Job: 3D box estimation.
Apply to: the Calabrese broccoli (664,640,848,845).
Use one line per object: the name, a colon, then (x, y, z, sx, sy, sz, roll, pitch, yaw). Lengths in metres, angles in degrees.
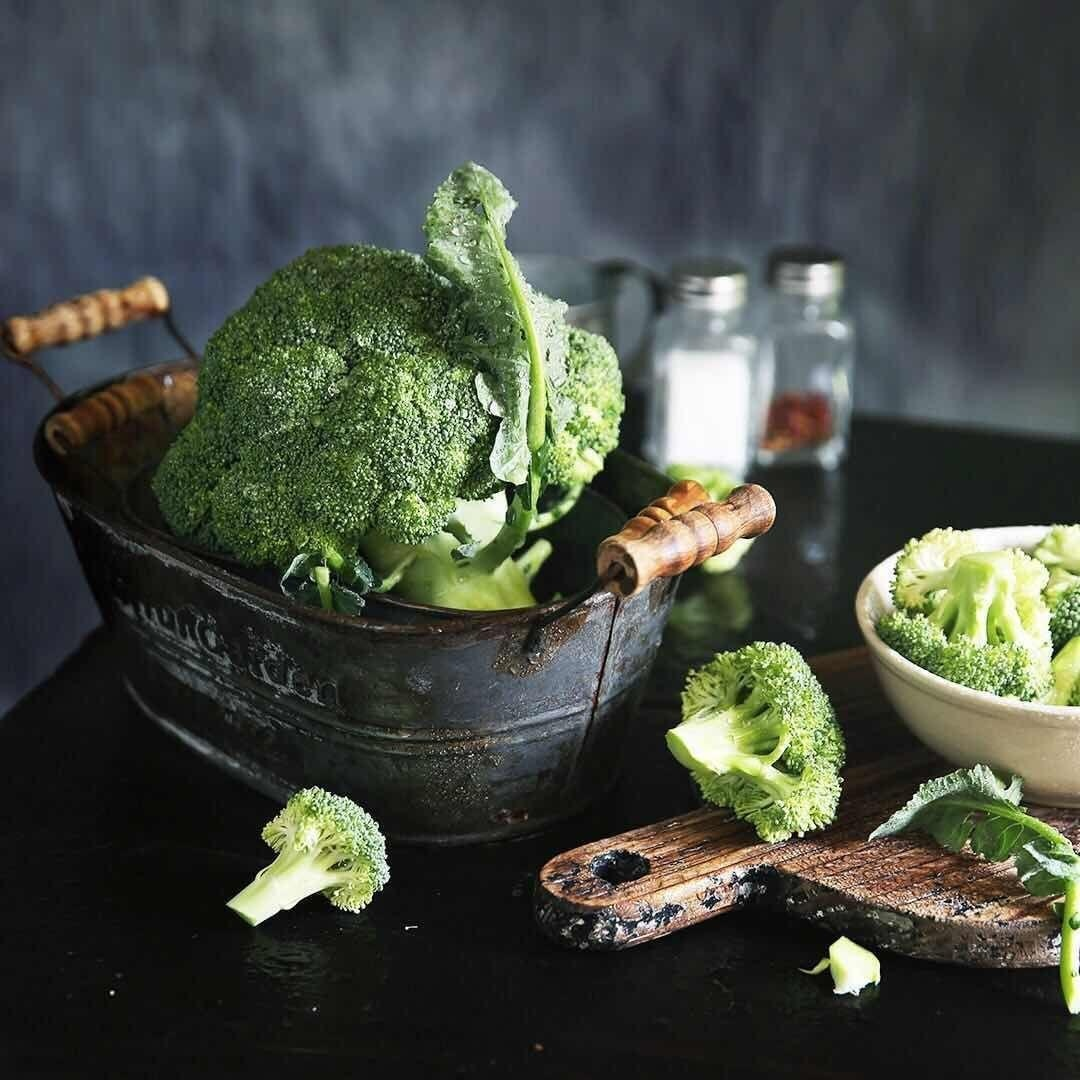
Calabrese broccoli: (0.142, 0.128, 0.795, 0.139, 0.103, 0.115, -9, 15, -24)

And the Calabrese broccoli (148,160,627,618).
Calabrese broccoli: (-0.090, -0.070, 0.863, 0.304, 0.261, 0.231, -12, 42, 1)

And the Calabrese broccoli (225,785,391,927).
Calabrese broccoli: (-0.141, 0.192, 0.774, 0.092, 0.080, 0.080, 5, 20, 0)
